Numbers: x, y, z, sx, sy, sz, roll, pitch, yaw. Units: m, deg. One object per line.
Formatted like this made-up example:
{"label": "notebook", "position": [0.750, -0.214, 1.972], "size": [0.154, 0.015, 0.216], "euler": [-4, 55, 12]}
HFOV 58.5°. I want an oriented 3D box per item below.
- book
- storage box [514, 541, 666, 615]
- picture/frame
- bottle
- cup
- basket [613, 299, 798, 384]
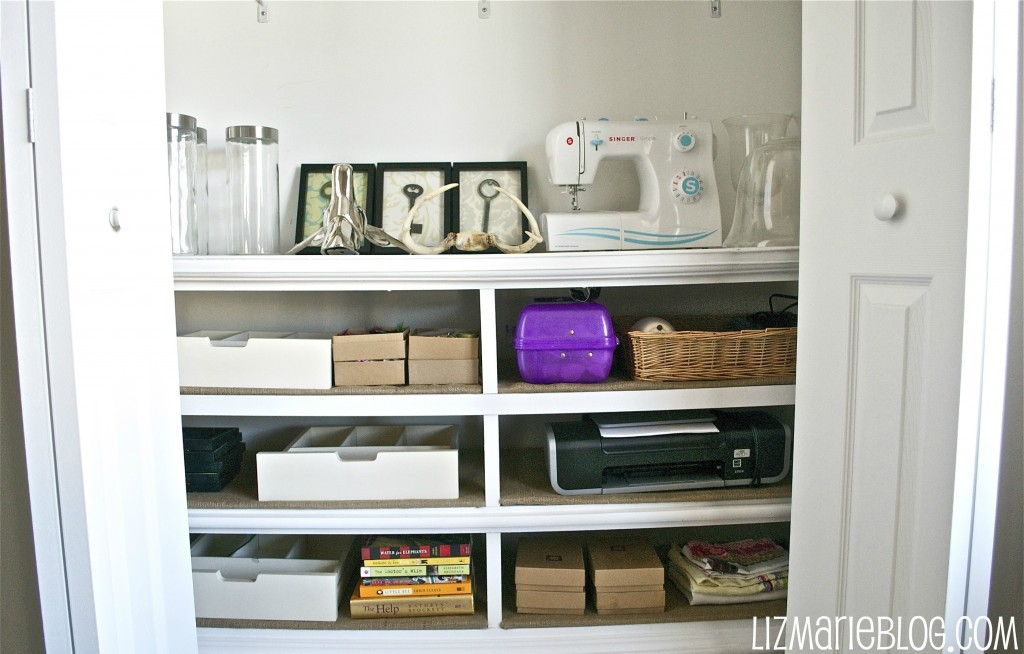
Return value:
{"label": "book", "position": [-0.281, 0.717, 2.652], "size": [0.270, 0.121, 0.261], "euler": [0, 1, -4]}
{"label": "storage box", "position": [0.231, 0.744, 2.726], "size": [0.309, 0.094, 0.216], "euler": [-1, 2, 0]}
{"label": "picture/frame", "position": [-0.284, -0.351, 2.740], "size": [0.726, 0.287, 0.388], "euler": [-3, 7, -1]}
{"label": "bottle", "position": [-0.879, -0.439, 2.841], "size": [0.332, 0.430, 0.214], "euler": [-5, 7, -13]}
{"label": "cup", "position": [0.749, -0.390, 2.692], "size": [0.291, 0.281, 0.312], "euler": [-2, 2, 0]}
{"label": "basket", "position": [0.597, 0.059, 2.750], "size": [0.428, 0.144, 0.287], "euler": [-1, 1, -4]}
